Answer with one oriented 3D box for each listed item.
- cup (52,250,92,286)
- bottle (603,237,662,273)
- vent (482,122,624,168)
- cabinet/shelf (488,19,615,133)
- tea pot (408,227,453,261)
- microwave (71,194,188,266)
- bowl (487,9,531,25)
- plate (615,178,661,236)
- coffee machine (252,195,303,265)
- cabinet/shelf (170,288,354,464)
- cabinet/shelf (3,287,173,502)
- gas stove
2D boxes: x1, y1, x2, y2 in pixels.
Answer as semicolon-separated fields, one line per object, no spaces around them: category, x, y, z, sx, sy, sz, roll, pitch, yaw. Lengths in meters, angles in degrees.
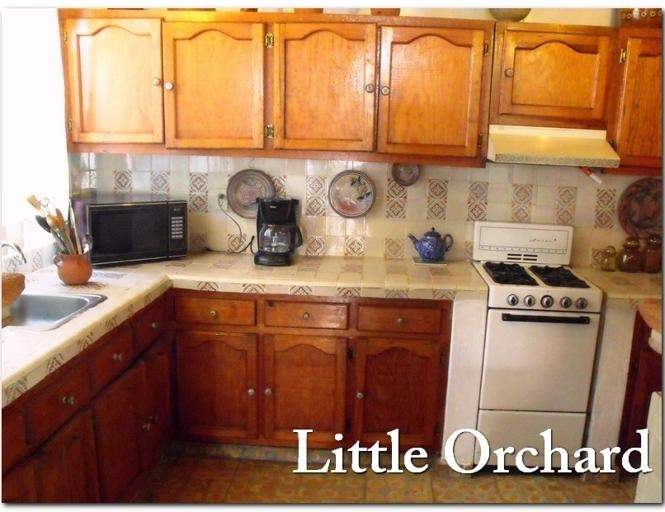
cup;-1.294;0.069;2.627;0.188;0.125;0.139;2;9;-7
bottle;1.836;-0.001;3.165;0.318;0.213;0.192;0;4;11
vent;1.211;-0.609;2.908;0.634;0.170;0.288;5;30;5
cabinet/shelf;1.171;-0.969;3.141;0.861;0.680;0.462;2;8;1
tea pot;0.611;-0.069;3.246;0.284;0.204;0.191;1;11;9
microwave;-1.215;-0.242;3.191;0.722;0.432;0.481;-4;11;-23
bowl;0.976;-1.340;2.892;0.208;0.100;0.123;2;11;17
plate;1.902;-0.314;3.281;0.321;0.324;0.140;7;10;-3
coffee machine;-0.313;-0.168;3.235;0.440;0.519;0.371;0;7;-3
cabinet/shelf;-0.381;0.625;2.906;1.049;0.871;0.433;0;4;1
cabinet/shelf;-1.055;0.575;2.210;0.393;0.520;1.074;0;10;3
gas stove;1.137;0.171;2.957;0.611;0.194;0.493;0;10;3
